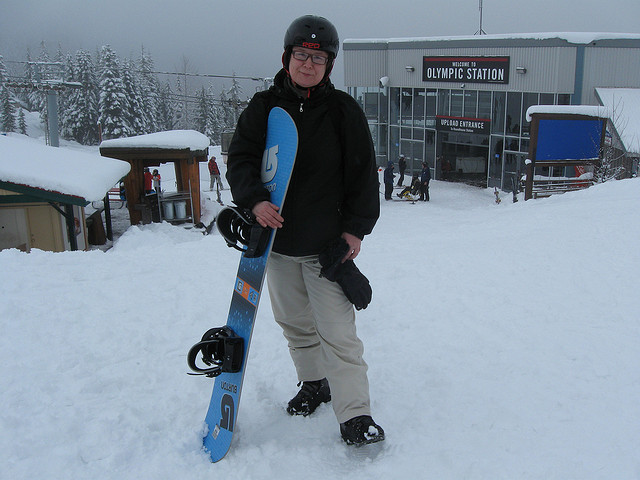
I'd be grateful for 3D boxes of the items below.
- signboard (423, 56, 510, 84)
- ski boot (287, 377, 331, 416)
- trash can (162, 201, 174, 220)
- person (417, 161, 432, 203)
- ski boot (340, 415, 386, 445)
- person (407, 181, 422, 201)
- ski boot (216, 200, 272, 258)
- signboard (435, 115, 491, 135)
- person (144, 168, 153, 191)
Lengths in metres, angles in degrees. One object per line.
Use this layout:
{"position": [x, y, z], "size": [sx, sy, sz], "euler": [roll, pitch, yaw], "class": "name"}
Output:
{"position": [7.287, -8.308, 23.996], "size": [0.142, 1.583, 4.314], "euler": [-8, 14, -40], "class": "signboard"}
{"position": [-0.056, 1.243, 3.993], "size": [0.180, 0.278, 0.559], "euler": [-4, 0, 32], "class": "ski boot"}
{"position": [-5.150, -1.016, 16.809], "size": [0.483, 0.668, 0.480], "euler": [-6, 14, -39], "class": "trash can"}
{"position": [4.361, -2.447, 20.317], "size": [0.437, 1.579, 2.807], "euler": [3, 11, 12], "class": "person"}
{"position": [0.302, 1.326, 3.446], "size": [0.156, 0.158, 0.296], "euler": [1, -16, -23], "class": "ski boot"}
{"position": [3.843, -1.970, 19.762], "size": [0.556, 0.791, 1.562], "euler": [3, 11, 11], "class": "person"}
{"position": [-0.495, -0.008, 3.572], "size": [0.224, 0.322, 0.440], "euler": [-35, -27, 8], "class": "ski boot"}
{"position": [7.321, -5.912, 25.081], "size": [0.335, 0.962, 3.295], "euler": [-6, 14, -35], "class": "signboard"}
{"position": [-7.196, -2.527, 20.565], "size": [0.245, 0.974, 1.821], "euler": [-3, 12, -19], "class": "person"}
